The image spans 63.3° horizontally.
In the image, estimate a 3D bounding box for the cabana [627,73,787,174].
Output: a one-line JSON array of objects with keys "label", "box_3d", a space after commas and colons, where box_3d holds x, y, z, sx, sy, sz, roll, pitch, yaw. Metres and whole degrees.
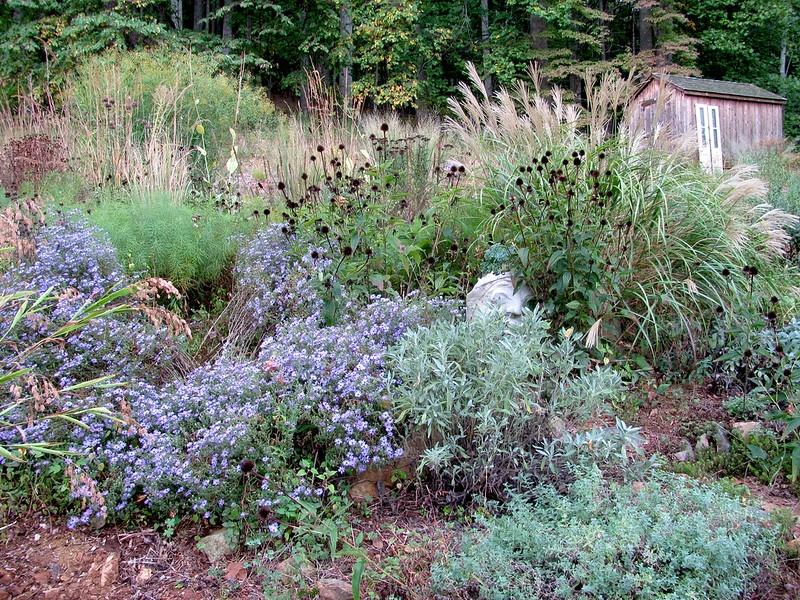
[{"label": "cabana", "box_3d": [6.022, -3.432, 12.674, 2.326, 1.831, 1.509, 1, 2, -13]}]
